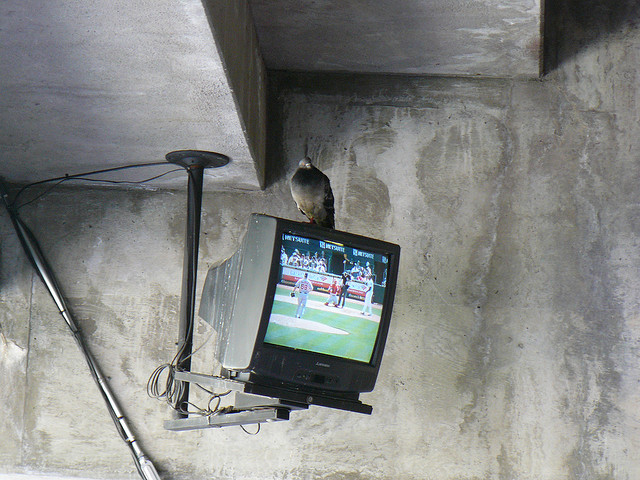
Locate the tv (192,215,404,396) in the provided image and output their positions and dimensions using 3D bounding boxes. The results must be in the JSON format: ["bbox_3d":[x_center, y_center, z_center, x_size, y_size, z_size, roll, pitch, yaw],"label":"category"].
[{"bbox_3d":[-0.046,0.323,6.723,0.843,0.663,0.970,31,-17,-28],"label":"tv"}]
